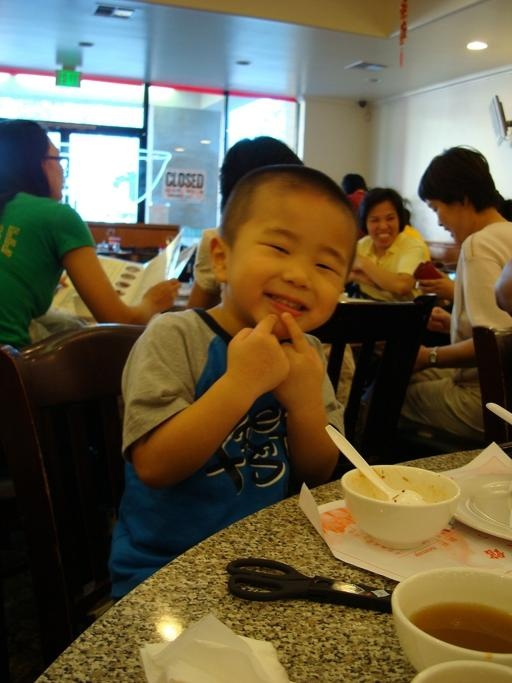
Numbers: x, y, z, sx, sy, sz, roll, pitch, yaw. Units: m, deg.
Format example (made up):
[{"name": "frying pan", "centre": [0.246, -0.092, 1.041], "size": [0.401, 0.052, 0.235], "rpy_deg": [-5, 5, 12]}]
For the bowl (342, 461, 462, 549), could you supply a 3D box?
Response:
[{"name": "bowl", "centre": [0.134, 0.150, 0.493], "size": [0.087, 0.045, 0.085], "rpy_deg": [0, 12, 0]}]

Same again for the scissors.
[{"name": "scissors", "centre": [0.030, 0.174, 0.388], "size": [0.099, 0.007, 0.038], "rpy_deg": [4, 22, 7]}]

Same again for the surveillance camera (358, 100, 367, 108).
[{"name": "surveillance camera", "centre": [1.757, -3.954, 8.919], "size": [0.080, 0.084, 0.096], "rpy_deg": [0, 5, -4]}]

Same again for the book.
[{"name": "book", "centre": [-0.505, -0.266, 2.135], "size": [0.542, 0.189, 0.356], "rpy_deg": [1, 47, -38]}]
